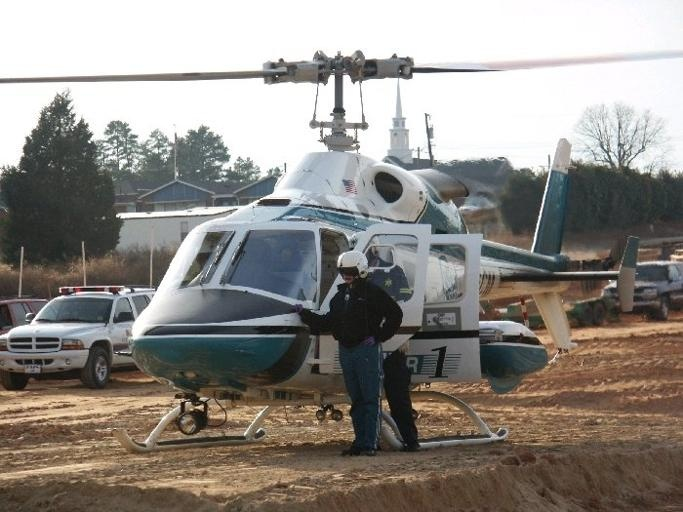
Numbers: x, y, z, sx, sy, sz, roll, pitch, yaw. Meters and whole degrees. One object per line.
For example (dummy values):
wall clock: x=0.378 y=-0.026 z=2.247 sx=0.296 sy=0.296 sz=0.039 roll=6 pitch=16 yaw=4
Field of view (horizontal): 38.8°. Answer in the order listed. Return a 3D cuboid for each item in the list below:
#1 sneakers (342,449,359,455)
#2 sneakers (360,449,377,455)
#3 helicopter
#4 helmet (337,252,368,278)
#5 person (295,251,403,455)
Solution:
sneakers: x=0.120 y=2.457 z=12.234 sx=0.222 sy=0.080 sz=0.085 roll=6 pitch=-3 yaw=-14
sneakers: x=0.349 y=2.435 z=12.128 sx=0.073 sy=0.064 sz=0.159 roll=5 pitch=-9 yaw=17
helicopter: x=0.827 y=0.239 z=14.213 sx=7.326 sy=2.862 sz=7.269 roll=-3 pitch=-6 yaw=40
helmet: x=0.166 y=0.078 z=12.198 sx=0.309 sy=0.277 sz=0.368 roll=6 pitch=18 yaw=17
person: x=0.206 y=1.215 z=12.119 sx=1.082 sy=2.531 sz=0.319 roll=0 pitch=2 yaw=1
